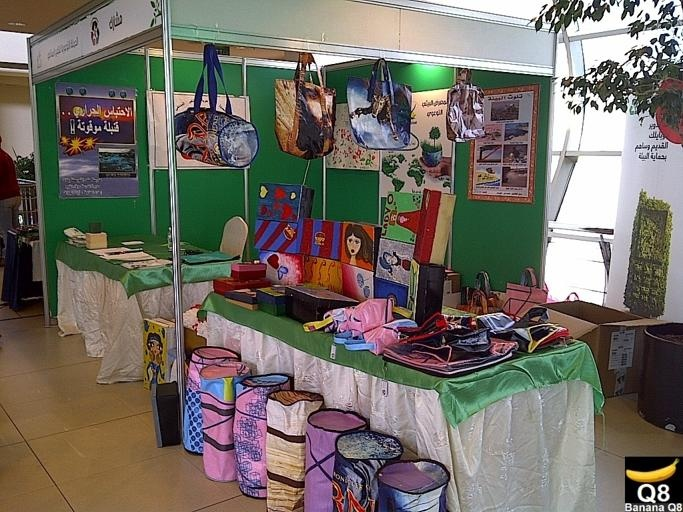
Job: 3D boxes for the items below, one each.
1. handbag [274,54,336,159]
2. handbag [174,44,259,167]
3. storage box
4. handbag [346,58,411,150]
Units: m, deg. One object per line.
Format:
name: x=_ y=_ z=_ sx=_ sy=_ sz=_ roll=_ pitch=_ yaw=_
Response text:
handbag: x=-0.243 y=-1.021 z=3.469 sx=0.419 sy=0.709 sz=0.298 roll=-2 pitch=11 yaw=-7
handbag: x=-0.848 y=-1.000 z=3.468 sx=0.548 sy=0.782 sz=0.382 roll=-3 pitch=11 yaw=-15
storage box: x=2.176 y=0.580 z=4.446 sx=0.767 sy=0.760 sz=1.038 roll=-3 pitch=9 yaw=-23
handbag: x=0.282 y=-1.084 z=3.655 sx=0.517 sy=0.618 sz=0.234 roll=-9 pitch=14 yaw=-36
